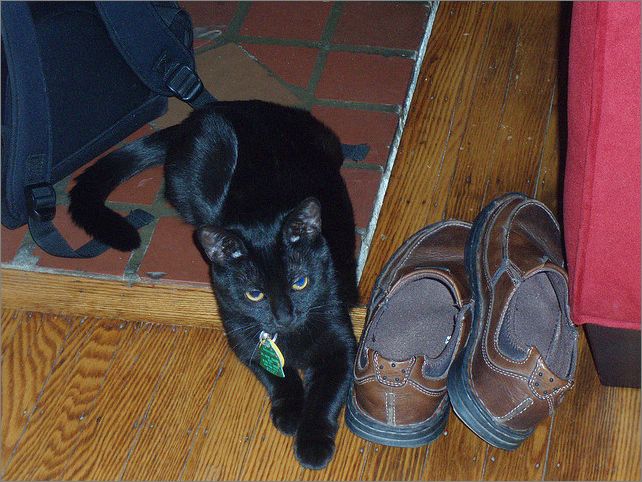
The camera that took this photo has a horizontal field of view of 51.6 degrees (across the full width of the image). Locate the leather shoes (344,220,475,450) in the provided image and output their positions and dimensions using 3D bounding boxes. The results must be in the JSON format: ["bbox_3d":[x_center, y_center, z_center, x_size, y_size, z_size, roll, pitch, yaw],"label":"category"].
[{"bbox_3d":[0.279,0.284,2.025,0.251,0.250,0.756,5,66,19],"label":"leather shoes"}]
